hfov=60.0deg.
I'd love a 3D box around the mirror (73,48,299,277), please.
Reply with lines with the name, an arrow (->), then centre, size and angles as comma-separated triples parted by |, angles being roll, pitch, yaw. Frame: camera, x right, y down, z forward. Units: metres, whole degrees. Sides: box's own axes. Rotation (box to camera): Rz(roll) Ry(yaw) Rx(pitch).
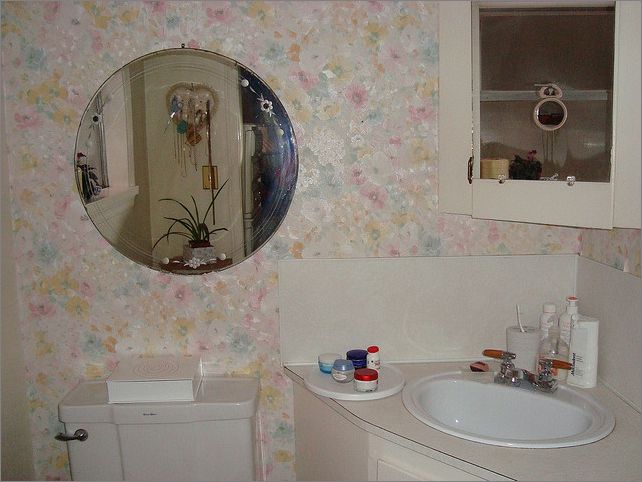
mirror -> -0.516, -0.320, 2.037 | 0.698, 0.823, 0.033 | -1, 9, -1

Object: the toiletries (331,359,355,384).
toiletries -> 0.077, 0.451, 1.934 | 0.070, 0.068, 0.070 | -7, 10, -33

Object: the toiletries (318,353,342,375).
toiletries -> 0.029, 0.437, 2.015 | 0.062, 0.047, 0.067 | 1, 4, 21

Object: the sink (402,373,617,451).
sink -> 0.592, 0.579, 1.792 | 0.635, 0.179, 0.433 | 0, 4, 28

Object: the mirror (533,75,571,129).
mirror -> 0.676, -0.392, 1.635 | 0.097, 0.139, 0.018 | 1, 4, 29

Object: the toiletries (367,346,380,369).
toiletries -> 0.188, 0.422, 1.983 | 0.042, 0.100, 0.140 | -1, 4, 8

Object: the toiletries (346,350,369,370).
toiletries -> 0.133, 0.422, 1.995 | 0.056, 0.060, 0.061 | 3, 10, 12

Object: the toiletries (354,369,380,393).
toiletries -> 0.156, 0.473, 1.896 | 0.084, 0.064, 0.078 | -1, 4, 4
